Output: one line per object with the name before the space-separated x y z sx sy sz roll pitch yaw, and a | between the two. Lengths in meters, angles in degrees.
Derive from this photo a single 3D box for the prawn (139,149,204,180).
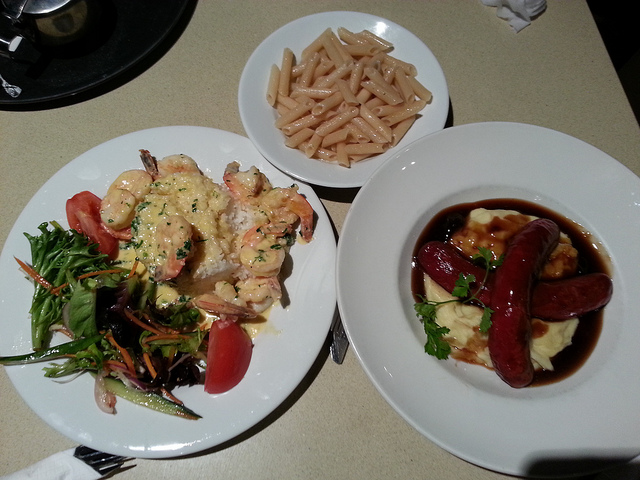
prawn | -0.896 -0.444 3.267 0.275 0.096 0.180 18 69 -2

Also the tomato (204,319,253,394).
tomato | -0.512 0.637 3.061 0.333 0.144 0.341 34 70 -25

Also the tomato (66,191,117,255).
tomato | -1.366 -0.073 3.332 0.247 0.099 0.395 -29 87 -9

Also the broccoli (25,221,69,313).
broccoli | -1.577 0.163 3.205 0.292 0.142 0.495 -2 85 1

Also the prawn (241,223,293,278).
prawn | -0.324 0.044 3.161 0.258 0.164 0.341 14 84 1

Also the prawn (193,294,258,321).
prawn | -0.538 0.383 3.127 0.369 0.108 0.085 14 84 1

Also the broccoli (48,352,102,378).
broccoli | -1.367 0.699 3.071 0.233 0.084 0.079 -12 119 12

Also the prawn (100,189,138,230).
prawn | -1.202 -0.182 3.213 0.074 0.250 0.251 2 79 14
